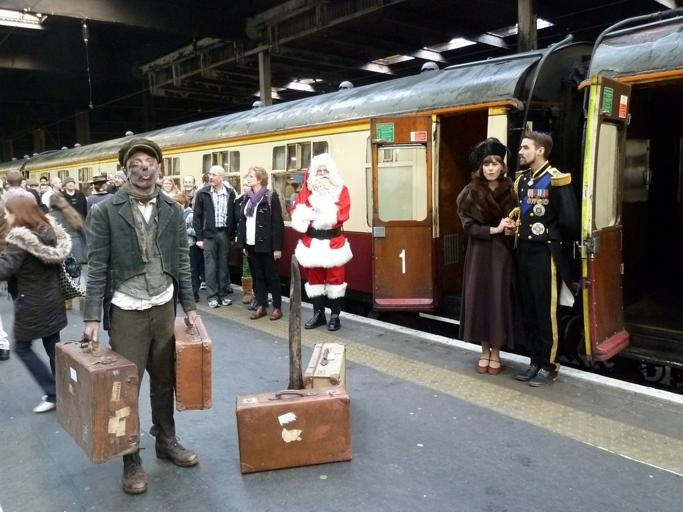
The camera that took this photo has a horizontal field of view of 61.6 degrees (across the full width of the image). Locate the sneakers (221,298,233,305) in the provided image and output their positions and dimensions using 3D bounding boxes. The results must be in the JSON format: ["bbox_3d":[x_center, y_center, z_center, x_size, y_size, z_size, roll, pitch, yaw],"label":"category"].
[{"bbox_3d":[-1.755,0.691,8.699,0.070,0.091,0.210,-1,-4,-29],"label":"sneakers"}]

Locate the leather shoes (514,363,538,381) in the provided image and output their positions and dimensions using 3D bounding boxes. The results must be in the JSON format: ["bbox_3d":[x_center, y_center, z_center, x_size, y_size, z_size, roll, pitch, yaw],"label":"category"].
[{"bbox_3d":[1.799,1.124,5.565,0.269,0.118,0.098,-3,5,-31],"label":"leather shoes"}]

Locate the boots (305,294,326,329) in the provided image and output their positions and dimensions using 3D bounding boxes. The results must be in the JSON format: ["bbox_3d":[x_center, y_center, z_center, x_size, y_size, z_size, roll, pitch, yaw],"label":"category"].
[{"bbox_3d":[-0.353,0.731,7.374,0.194,0.413,0.396,-4,-1,41],"label":"boots"}]

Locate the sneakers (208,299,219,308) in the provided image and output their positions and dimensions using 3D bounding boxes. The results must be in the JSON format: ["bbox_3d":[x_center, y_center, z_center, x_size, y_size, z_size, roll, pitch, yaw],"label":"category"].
[{"bbox_3d":[-1.901,0.694,8.456,0.091,0.108,0.237,1,-6,-15],"label":"sneakers"}]

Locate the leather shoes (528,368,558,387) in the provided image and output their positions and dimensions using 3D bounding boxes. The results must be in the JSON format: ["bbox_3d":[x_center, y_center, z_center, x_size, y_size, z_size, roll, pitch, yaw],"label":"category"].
[{"bbox_3d":[1.913,1.151,5.462,0.311,0.137,0.120,-3,1,-38],"label":"leather shoes"}]

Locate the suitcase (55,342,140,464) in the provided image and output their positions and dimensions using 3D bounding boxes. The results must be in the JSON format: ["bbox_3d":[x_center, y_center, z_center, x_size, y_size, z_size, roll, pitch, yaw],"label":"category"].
[{"bbox_3d":[-1.671,0.987,3.950,0.334,0.731,0.859,-4,6,-33],"label":"suitcase"}]

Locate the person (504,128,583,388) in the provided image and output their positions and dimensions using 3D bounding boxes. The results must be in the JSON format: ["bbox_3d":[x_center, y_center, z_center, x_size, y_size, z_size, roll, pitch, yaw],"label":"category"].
[{"bbox_3d":[1.886,0.031,5.403,0.610,2.346,0.491,3,13,22],"label":"person"}]

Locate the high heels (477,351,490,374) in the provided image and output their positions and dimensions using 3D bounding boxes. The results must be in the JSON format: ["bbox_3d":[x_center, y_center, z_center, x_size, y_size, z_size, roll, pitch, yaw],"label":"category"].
[{"bbox_3d":[1.418,1.075,5.773,0.083,0.075,0.260,-4,36,24],"label":"high heels"}]

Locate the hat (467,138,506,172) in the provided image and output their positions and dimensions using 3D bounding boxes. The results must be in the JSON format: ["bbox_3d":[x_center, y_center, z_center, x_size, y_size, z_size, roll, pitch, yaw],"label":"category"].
[{"bbox_3d":[1.536,-1.038,5.874,0.402,0.411,0.373,-3,4,-20],"label":"hat"}]

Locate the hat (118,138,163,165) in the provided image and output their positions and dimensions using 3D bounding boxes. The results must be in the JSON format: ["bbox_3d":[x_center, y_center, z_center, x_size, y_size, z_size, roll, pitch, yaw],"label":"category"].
[{"bbox_3d":[-1.446,-0.725,4.222,0.211,0.093,0.250,-3,-3,24],"label":"hat"}]

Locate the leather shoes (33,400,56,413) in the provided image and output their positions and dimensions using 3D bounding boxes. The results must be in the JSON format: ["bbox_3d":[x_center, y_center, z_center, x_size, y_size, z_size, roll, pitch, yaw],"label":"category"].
[{"bbox_3d":[-2.699,1.373,5.261,0.216,0.103,0.088,2,3,-17],"label":"leather shoes"}]

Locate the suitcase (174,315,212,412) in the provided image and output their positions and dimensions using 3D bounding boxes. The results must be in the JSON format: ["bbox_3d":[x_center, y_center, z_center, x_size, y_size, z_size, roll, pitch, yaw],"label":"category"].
[{"bbox_3d":[-1.125,0.810,4.287,0.246,0.641,0.716,-1,8,-14],"label":"suitcase"}]

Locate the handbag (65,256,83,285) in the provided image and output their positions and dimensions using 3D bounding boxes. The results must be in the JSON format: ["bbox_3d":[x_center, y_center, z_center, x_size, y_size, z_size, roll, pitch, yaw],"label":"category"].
[{"bbox_3d":[-3.317,0.166,7.077,0.143,0.392,0.261,-16,29,-29],"label":"handbag"}]
